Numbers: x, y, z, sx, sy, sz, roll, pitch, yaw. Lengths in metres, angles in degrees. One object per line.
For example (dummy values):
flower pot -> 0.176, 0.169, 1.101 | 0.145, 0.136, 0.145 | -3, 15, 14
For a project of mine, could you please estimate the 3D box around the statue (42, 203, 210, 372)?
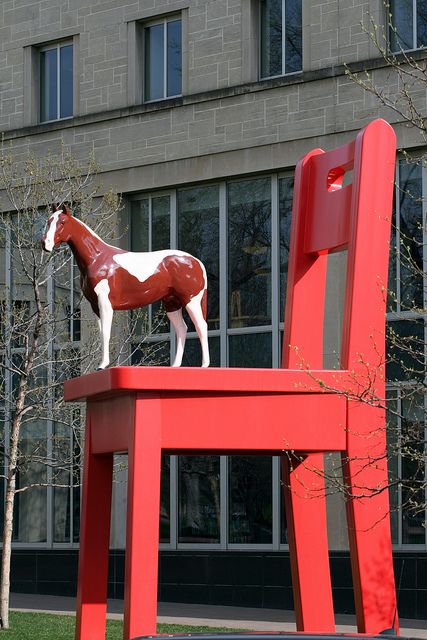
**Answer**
statue -> -0.841, -0.347, 14.290 | 1.588, 1.802, 0.523 | 5, -28, -14
